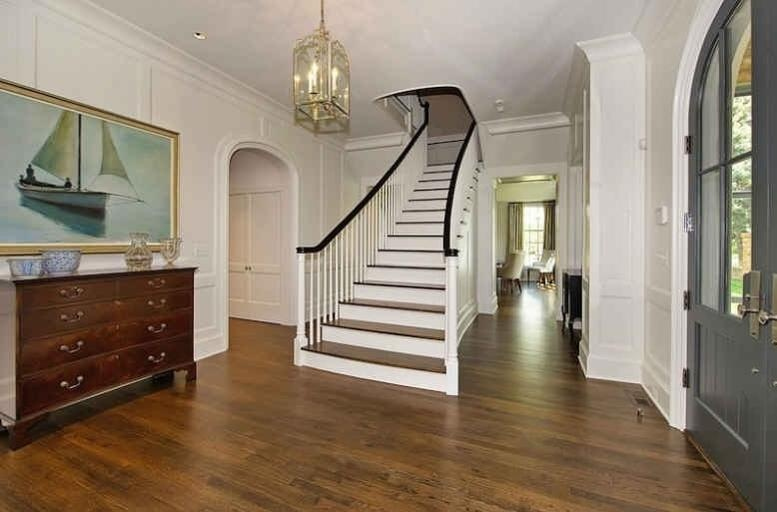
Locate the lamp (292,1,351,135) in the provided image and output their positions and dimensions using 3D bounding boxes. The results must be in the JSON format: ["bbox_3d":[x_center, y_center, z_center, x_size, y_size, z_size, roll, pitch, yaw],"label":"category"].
[{"bbox_3d":[-0.605,-1.756,4.724,0.503,1.222,0.322,1,2,-9],"label":"lamp"}]

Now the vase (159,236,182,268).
[{"bbox_3d":[-2.520,-0.035,5.939,0.298,0.389,0.300,3,0,-33],"label":"vase"}]

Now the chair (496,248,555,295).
[{"bbox_3d":[3.253,0.329,12.290,1.090,1.579,1.331,-2,-7,27],"label":"chair"}]

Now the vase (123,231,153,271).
[{"bbox_3d":[-2.656,-0.056,5.677,0.342,0.493,0.368,0,0,-14],"label":"vase"}]

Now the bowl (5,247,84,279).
[{"bbox_3d":[-3.263,0.079,4.961,0.361,0.172,0.373,-1,-6,0],"label":"bowl"}]
